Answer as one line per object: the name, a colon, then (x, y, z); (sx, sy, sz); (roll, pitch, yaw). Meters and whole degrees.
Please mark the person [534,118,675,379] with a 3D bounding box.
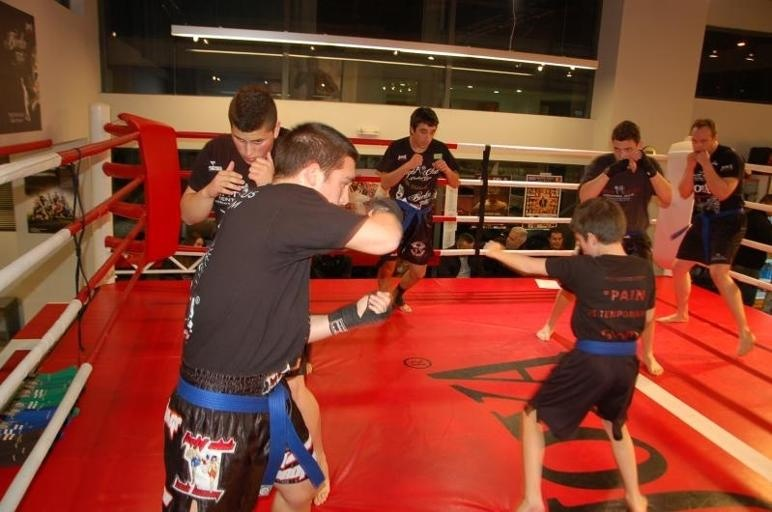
person: (1.811, -0.063, 4.377); (1.016, 1.937, 0.590); (8, 5, 26)
